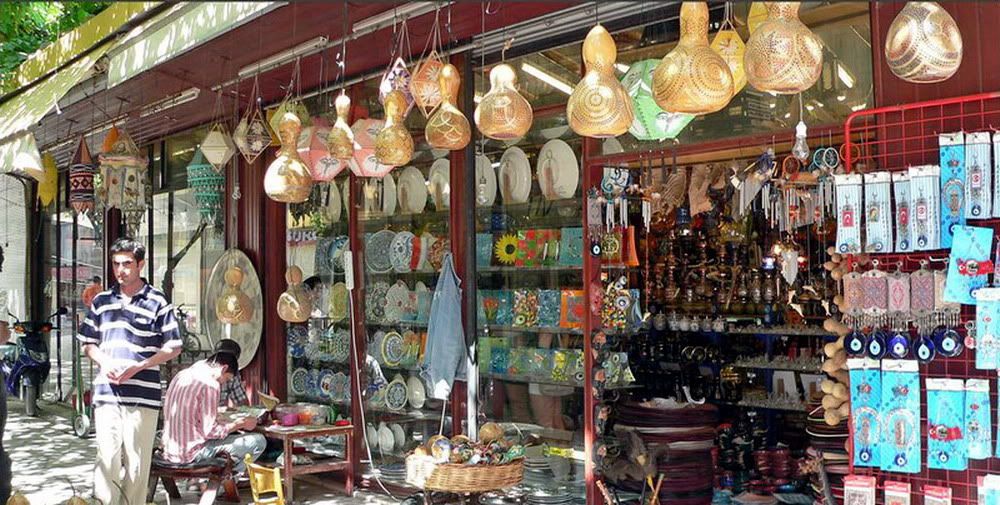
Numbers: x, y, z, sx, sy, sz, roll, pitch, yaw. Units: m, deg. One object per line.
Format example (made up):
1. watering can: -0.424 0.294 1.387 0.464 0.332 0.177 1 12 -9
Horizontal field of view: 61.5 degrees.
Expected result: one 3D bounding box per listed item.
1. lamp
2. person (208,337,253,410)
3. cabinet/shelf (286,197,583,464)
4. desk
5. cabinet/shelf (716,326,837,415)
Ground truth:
1. lamp: -1.883 -2.510 9.932 2.928 0.377 0.283 -5 -8 28
2. person: -3.445 1.635 10.774 0.719 1.067 0.458 -8 -6 42
3. cabinet/shelf: -0.640 0.979 10.109 3.499 3.032 1.125 -2 -3 38
4. desk: -2.358 2.608 10.328 0.992 0.853 0.983 7 -11 -43
5. cabinet/shelf: 3.727 1.613 11.368 0.770 0.902 1.422 -5 -6 30
